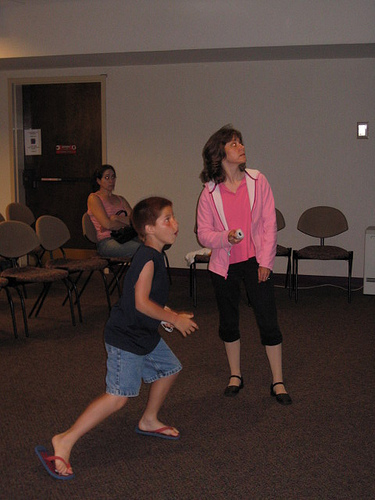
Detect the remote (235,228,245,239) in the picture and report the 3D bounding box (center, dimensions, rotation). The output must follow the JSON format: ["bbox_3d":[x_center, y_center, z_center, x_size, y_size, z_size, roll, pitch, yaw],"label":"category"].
[{"bbox_3d":[0.216,-0.070,1.664,0.032,0.044,0.043,-3,0,-3],"label":"remote"}]

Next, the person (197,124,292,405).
[{"bbox_3d":[0.256,0.068,1.935,0.428,1.378,0.326,-1,1,-42],"label":"person"}]

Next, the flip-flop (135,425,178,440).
[{"bbox_3d":[-0.127,0.726,1.628,0.169,0.018,0.051,7,-6,11],"label":"flip-flop"}]

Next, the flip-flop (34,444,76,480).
[{"bbox_3d":[-0.466,0.706,1.359,0.170,0.046,0.067,22,-6,34],"label":"flip-flop"}]

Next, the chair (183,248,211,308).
[{"bbox_3d":[0.073,0.253,4.210,0.261,0.427,0.249,16,-9,34],"label":"chair"}]

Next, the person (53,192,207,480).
[{"bbox_3d":[-0.234,0.290,1.788,0.492,0.993,1.117,-1,1,-2],"label":"person"}]

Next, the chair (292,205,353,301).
[{"bbox_3d":[1.528,0.007,4.531,0.648,1.052,0.749,2,4,23],"label":"chair"}]

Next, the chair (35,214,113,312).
[{"bbox_3d":[-1.131,0.135,3.924,0.701,0.952,0.637,5,7,39],"label":"chair"}]
